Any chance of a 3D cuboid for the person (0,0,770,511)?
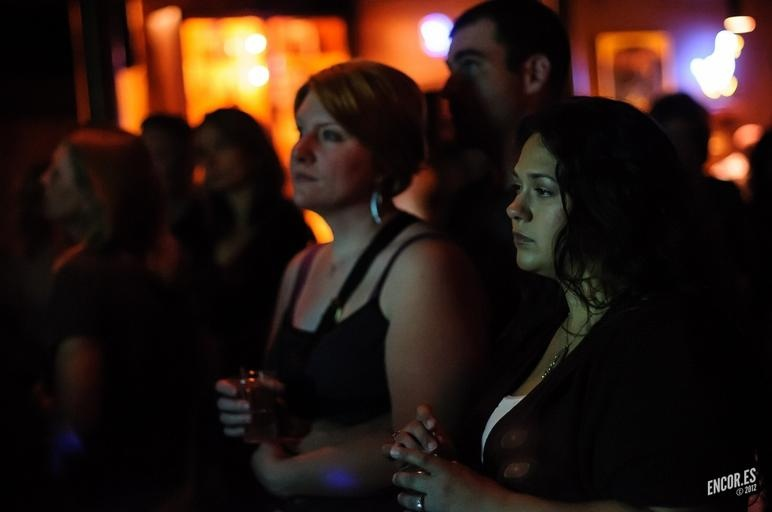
[{"bbox_3d":[0.056,-0.026,2.199,1.216,1.172,0.285,-1,-18,23],"label":"person"}]
